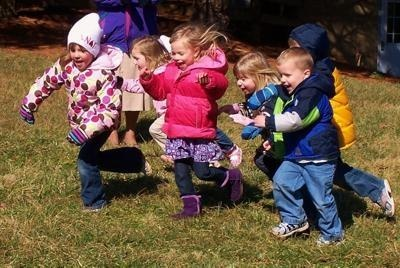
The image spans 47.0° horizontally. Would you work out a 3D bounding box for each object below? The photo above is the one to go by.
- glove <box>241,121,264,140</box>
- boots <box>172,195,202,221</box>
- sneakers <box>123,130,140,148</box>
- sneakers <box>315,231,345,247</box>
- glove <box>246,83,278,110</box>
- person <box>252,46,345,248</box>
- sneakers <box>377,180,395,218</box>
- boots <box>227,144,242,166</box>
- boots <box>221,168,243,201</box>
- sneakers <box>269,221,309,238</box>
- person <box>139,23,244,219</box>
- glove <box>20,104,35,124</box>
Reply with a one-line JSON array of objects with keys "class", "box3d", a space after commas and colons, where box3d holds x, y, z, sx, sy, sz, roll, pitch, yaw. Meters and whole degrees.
[{"class": "glove", "box3d": [0.640, -0.030, 5.566, 0.236, 0.105, 0.176, -18, -16, -25]}, {"class": "boots", "box3d": [-0.102, 0.877, 5.604, 0.465, 0.339, 0.171, 1, 5, 6]}, {"class": "sneakers", "box3d": [-1.105, 0.083, 7.743, 0.372, 0.301, 0.145, 10, 10, 25]}, {"class": "sneakers", "box3d": [1.455, 1.180, 5.162, 0.201, 0.076, 0.149, -2, -1, 42]}, {"class": "glove", "box3d": [0.848, -0.468, 5.637, 0.199, 0.124, 0.343, 49, 34, 17]}, {"class": "person", "box3d": [1.149, 0.195, 5.054, 0.884, 2.128, 0.644, 0, 22, 7]}, {"class": "sneakers", "box3d": [2.234, 0.793, 5.558, 0.211, 0.461, 0.167, -15, 11, -1]}, {"class": "boots", "box3d": [0.524, 0.337, 6.641, 0.142, 0.344, 0.186, -14, -35, 41]}, {"class": "boots", "box3d": [0.399, 0.620, 5.955, 0.337, 0.502, 0.185, -9, 17, -22]}, {"class": "sneakers", "box3d": [1.012, 1.059, 5.245, 0.426, 0.201, 0.171, -5, 13, -13]}, {"class": "person", "box3d": [-0.063, -0.084, 5.514, 1.128, 2.305, 0.732, -4, 22, -2]}, {"class": "glove", "box3d": [-2.122, -0.239, 5.696, 0.160, 0.210, 0.077, 1, 38, 20]}]
